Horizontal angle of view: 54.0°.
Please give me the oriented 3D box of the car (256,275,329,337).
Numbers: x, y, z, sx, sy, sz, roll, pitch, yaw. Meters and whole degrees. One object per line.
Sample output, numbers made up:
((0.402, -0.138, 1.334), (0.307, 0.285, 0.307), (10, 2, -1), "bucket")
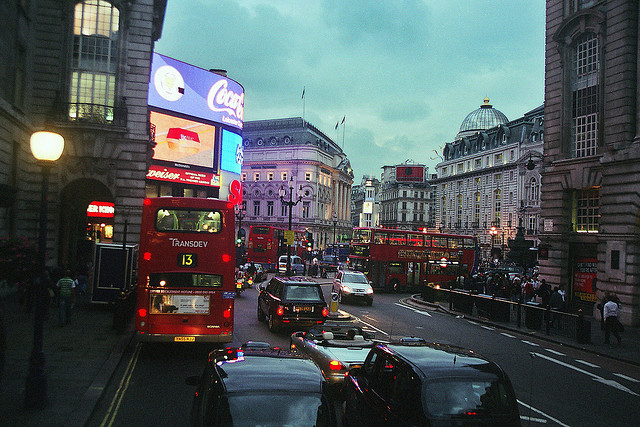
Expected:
((-1.655, 4.639, 33.080), (2.767, 2.749, 6.017), (4, 0, -16), "car")

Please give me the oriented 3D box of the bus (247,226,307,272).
((-4.401, 3.599, 71.964), (3.361, 4.335, 9.018), (0, 0, 23), "bus")

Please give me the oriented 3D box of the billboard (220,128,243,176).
((-10.315, -7.192, 72.612), (0.638, 4.625, 4.586), (-1, -7, 18), "billboard")

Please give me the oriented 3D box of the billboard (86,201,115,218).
((-15.260, -0.332, 43.768), (1.923, 1.116, 0.635), (-1, -7, 17), "billboard")
